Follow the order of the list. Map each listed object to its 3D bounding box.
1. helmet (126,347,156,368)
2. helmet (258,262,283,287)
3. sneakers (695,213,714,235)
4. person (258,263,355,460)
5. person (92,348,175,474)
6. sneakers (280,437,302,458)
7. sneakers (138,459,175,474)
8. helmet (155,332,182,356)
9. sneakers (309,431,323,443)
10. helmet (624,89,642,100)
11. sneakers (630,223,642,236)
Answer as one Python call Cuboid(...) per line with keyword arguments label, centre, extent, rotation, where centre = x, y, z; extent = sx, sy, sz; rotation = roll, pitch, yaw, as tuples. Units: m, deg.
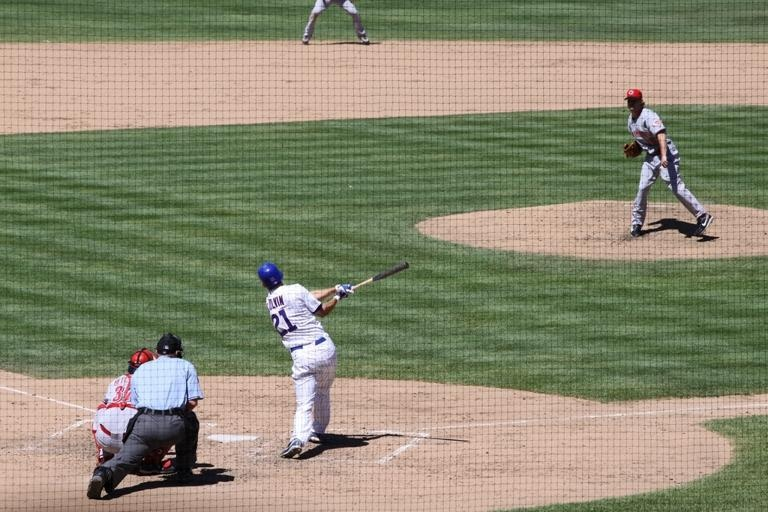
Cuboid(label="helmet", centre=(-4.216, 1.774, 27.859), extent=(0.366, 0.254, 0.451), rotation=(5, 22, 15))
Cuboid(label="helmet", centre=(-2.082, 0.350, 29.099), extent=(0.340, 0.378, 0.383), rotation=(-29, 40, 4))
Cuboid(label="sneakers", centre=(6.815, -0.675, 33.931), extent=(0.321, 0.599, 0.200), rotation=(2, 46, -10))
Cuboid(label="person", centre=(-1.421, 1.866, 28.120), extent=(1.208, 3.440, 1.097), rotation=(0, 12, -2))
Cuboid(label="person", centre=(-4.318, 2.948, 27.821), extent=(1.791, 0.776, 2.393), rotation=(-2, 21, 4))
Cuboid(label="sneakers", centre=(-1.557, 3.391, 27.948), extent=(0.206, 0.570, 0.208), rotation=(30, 43, -22))
Cuboid(label="sneakers", centre=(-3.952, 3.693, 27.735), extent=(0.799, 0.245, 0.224), rotation=(1, 22, -9))
Cuboid(label="helmet", centre=(-3.695, 1.516, 27.562), extent=(0.366, 0.258, 0.445), rotation=(2, 16, -1))
Cuboid(label="sneakers", centre=(-1.207, 3.300, 28.703), extent=(0.229, 0.058, 0.161), rotation=(6, 63, 4))
Cuboid(label="helmet", centre=(5.226, -3.370, 33.092), extent=(0.309, 0.201, 0.256), rotation=(1, 10, 3))
Cuboid(label="sneakers", centre=(5.410, -0.564, 34.252), extent=(0.298, 0.219, 0.251), rotation=(1, -7, 0))
